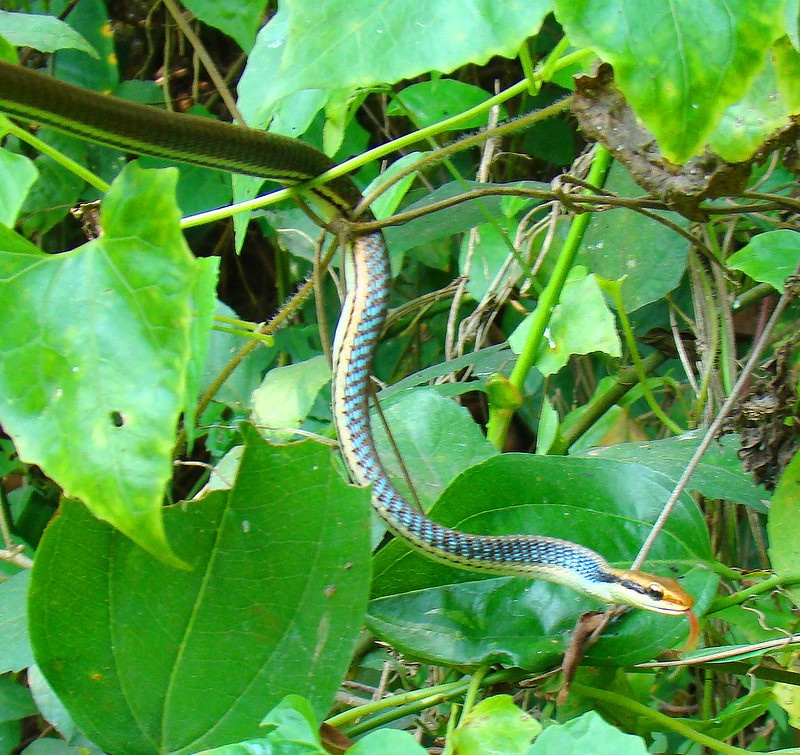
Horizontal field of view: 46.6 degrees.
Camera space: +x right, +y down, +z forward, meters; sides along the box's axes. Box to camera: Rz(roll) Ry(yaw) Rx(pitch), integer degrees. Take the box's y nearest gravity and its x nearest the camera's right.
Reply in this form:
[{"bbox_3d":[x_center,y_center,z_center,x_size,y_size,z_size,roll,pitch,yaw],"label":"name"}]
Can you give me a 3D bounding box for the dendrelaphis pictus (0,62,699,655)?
[{"bbox_3d":[-0.124,-0.083,1.663,0.471,1.093,0.966,-32,48,-3],"label":"dendrelaphis pictus"}]
